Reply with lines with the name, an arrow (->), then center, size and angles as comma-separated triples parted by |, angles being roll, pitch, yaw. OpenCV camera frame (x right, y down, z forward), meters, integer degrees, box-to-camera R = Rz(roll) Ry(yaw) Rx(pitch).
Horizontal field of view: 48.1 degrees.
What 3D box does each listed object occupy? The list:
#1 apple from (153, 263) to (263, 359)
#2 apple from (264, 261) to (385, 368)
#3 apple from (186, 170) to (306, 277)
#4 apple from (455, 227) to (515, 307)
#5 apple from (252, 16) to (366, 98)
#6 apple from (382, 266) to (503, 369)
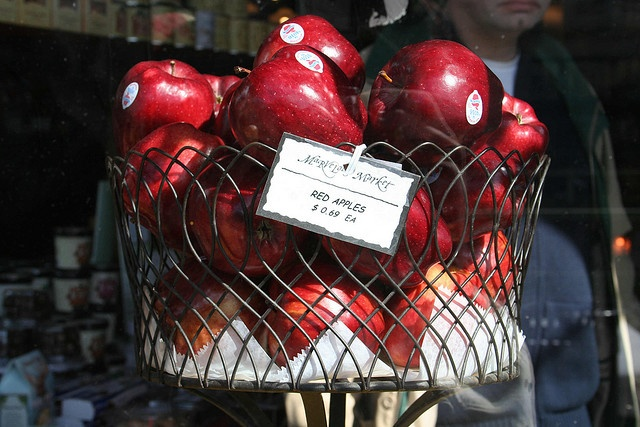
apple -> -0.191, 0.148, 1.236 | 0.195, 0.139, 0.173 | -10, 72, -5
apple -> -0.001, 0.144, 1.276 | 0.175, 0.178, 0.185 | -17, 82, 26
apple -> -0.120, 0.015, 1.277 | 0.175, 0.174, 0.184 | 24, 81, -38
apple -> 0.301, 0.092, 1.279 | 0.107, 0.121, 0.149 | -5, 94, 11
apple -> -0.021, -0.267, 1.371 | 0.184, 0.155, 0.166 | 32, 92, -7
apple -> 0.204, 0.162, 1.296 | 0.170, 0.179, 0.219 | 18, 100, 4
